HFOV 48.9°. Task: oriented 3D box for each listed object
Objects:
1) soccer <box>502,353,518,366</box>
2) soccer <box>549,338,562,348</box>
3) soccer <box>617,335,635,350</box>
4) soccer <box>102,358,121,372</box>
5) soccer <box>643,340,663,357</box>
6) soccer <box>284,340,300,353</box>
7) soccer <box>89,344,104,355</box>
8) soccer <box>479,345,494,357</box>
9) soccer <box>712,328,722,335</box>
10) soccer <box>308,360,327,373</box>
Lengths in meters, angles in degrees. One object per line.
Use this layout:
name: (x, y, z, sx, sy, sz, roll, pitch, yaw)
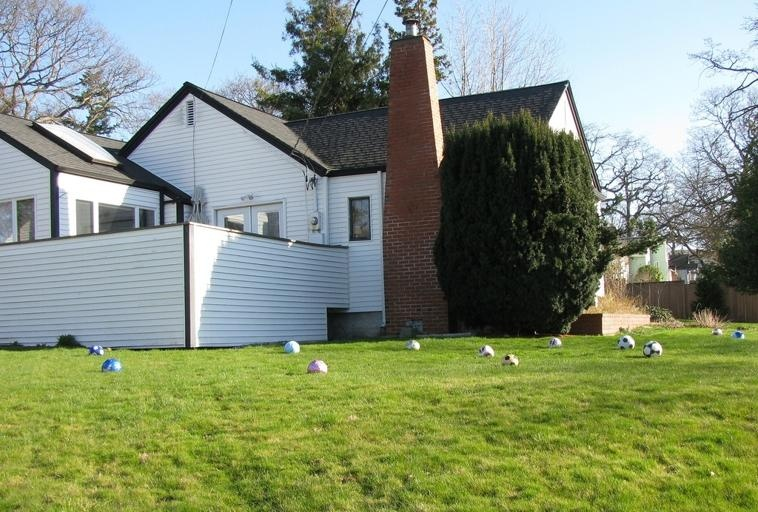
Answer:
soccer: (2.819, 2.213, 17.756, 0.139, 0.270, 0.476, 2, -7, 15)
soccer: (4.385, 2.136, 20.592, 0.305, 0.236, 0.574, -3, -8, 12)
soccer: (5.932, 2.040, 19.816, 0.306, 0.363, 0.319, -5, 8, -12)
soccer: (-5.832, 2.369, 18.102, 0.471, 0.281, 0.393, -1, -7, -2)
soccer: (6.059, 2.042, 18.352, 0.320, 0.349, 0.335, -3, 1, 4)
soccer: (-2.147, 2.302, 20.594, 0.305, 0.300, 0.305, 16, -43, -34)
soccer: (-7.045, 2.339, 20.694, 0.331, 0.269, 0.949, 1, -8, -20)
soccer: (2.495, 2.161, 19.191, 0.203, 0.272, 0.288, 2, 13, 11)
soccer: (9.378, 2.092, 22.968, 0.269, 0.175, 0.278, 0, -6, 5)
soccer: (-1.277, 2.324, 17.490, 0.270, 0.238, 0.279, -6, 3, -32)
